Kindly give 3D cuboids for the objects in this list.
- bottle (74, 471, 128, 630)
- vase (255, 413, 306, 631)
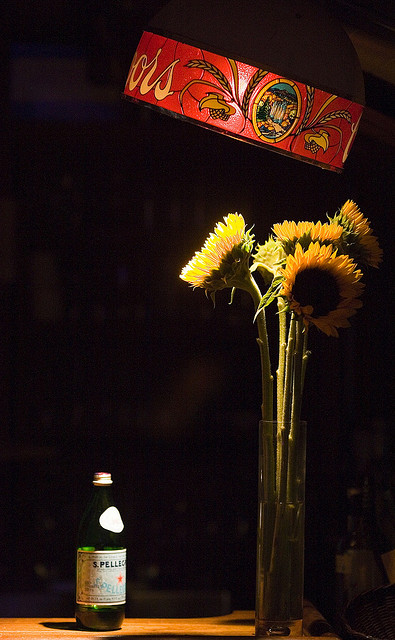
[{"bbox_3d":[-0.179,0.437,1.301,0.106,0.299,0.240,1,-4,-10],"label":"bottle"},{"bbox_3d":[0.138,0.338,1.151,0.074,0.353,0.054,0,-3,8],"label":"vase"}]
